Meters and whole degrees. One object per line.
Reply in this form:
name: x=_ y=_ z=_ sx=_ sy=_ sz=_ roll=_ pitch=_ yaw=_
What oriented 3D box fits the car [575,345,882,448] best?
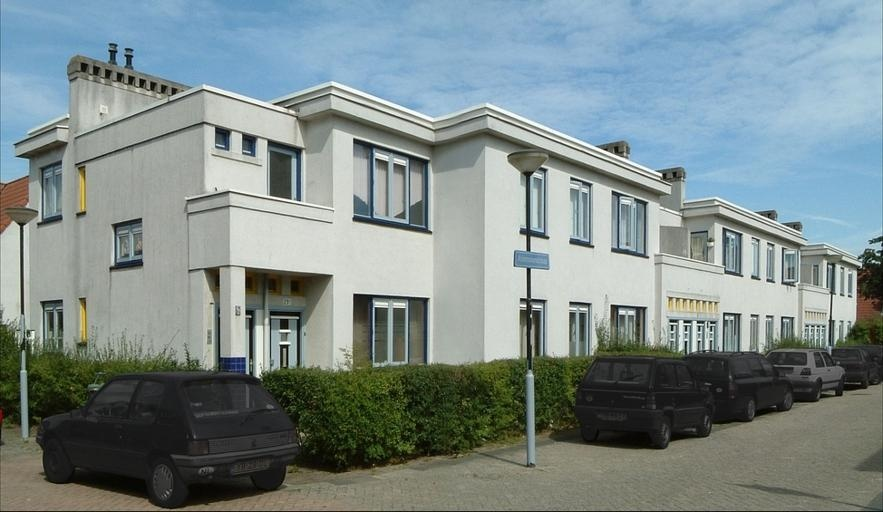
car: x=8.279 y=4.358 z=28.597 sx=2.852 sy=2.142 sz=8.705 roll=-3 pitch=-1 yaw=42
